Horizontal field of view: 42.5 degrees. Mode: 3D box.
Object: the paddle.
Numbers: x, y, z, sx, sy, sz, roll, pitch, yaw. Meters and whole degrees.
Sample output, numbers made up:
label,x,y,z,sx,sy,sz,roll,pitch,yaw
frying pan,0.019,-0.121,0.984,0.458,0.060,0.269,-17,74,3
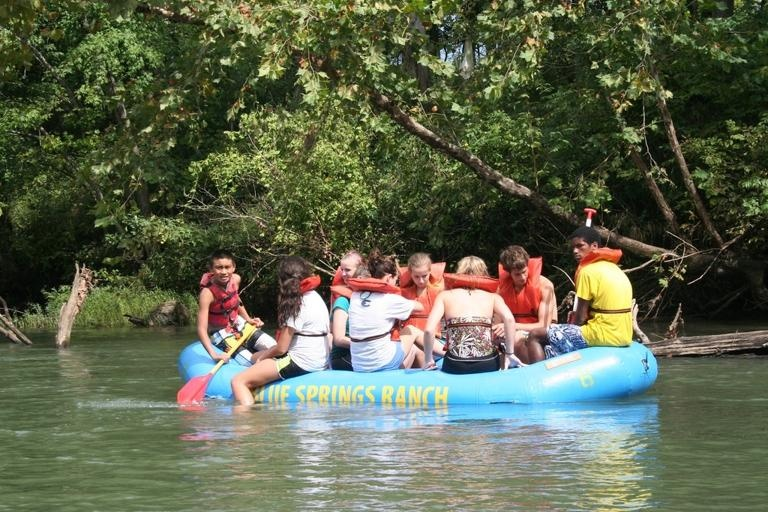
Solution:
label,x,y,z,sx,sy,sz,roll,pitch,yaw
paddle,-2.392,1.601,14.389,1.493,0.322,0.066,-38,-15,-39
